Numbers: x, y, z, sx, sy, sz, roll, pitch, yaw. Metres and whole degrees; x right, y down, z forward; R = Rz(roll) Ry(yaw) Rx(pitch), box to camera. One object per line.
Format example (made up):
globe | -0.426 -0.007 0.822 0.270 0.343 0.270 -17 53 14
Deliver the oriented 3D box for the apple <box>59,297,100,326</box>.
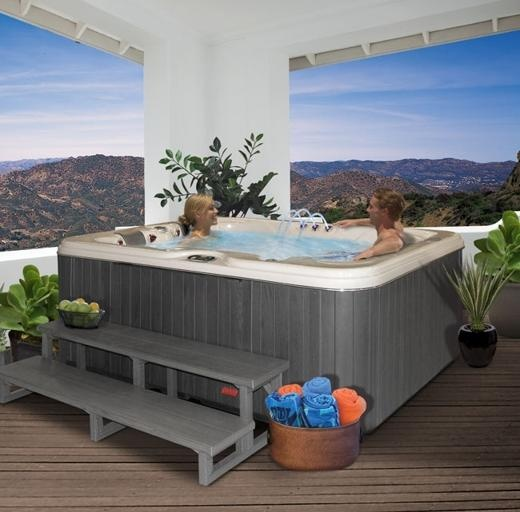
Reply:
apple | -0.854 0.262 2.094 0.157 0.066 0.150 2 -2 15
